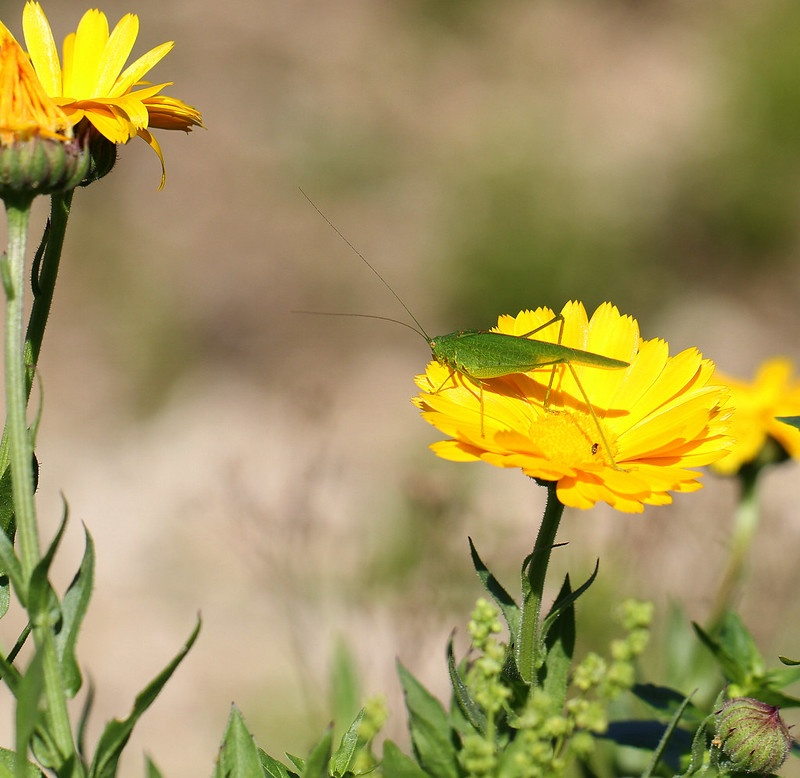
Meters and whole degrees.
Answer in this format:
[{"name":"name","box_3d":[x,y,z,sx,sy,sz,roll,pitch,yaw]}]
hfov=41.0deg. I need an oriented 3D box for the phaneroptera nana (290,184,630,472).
[{"name":"phaneroptera nana","box_3d":[0.322,-0.178,4.244,1.166,0.788,0.802,10,-82,18]}]
